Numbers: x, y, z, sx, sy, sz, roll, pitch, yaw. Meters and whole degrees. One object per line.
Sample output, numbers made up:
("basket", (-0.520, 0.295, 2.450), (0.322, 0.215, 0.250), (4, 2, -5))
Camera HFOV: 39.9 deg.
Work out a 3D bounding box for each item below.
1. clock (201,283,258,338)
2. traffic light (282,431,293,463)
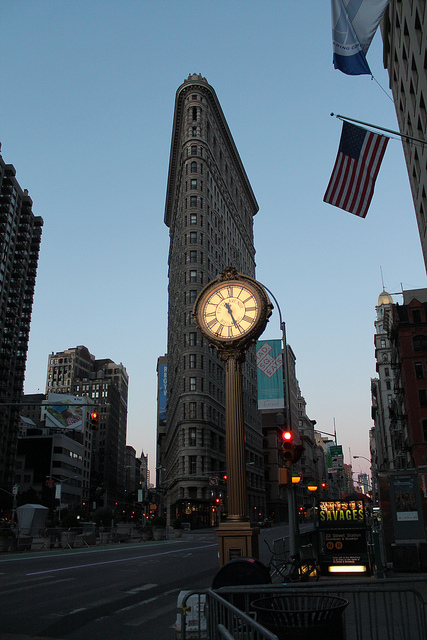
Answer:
("clock", (0.385, -0.187, 14.216), (1.546, 1.629, 0.094), (-10, -28, 10))
("traffic light", (1.776, 3.054, 14.226), (0.254, 0.770, 0.376), (-3, -22, 4))
